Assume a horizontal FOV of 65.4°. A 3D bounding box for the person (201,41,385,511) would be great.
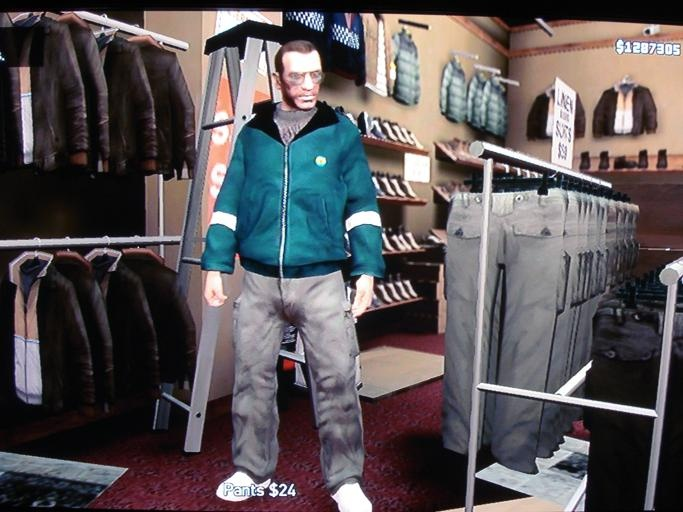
[{"bbox_3d":[-0.213,0.096,2.274,0.761,1.986,0.348,2,8,9],"label":"person"}]
